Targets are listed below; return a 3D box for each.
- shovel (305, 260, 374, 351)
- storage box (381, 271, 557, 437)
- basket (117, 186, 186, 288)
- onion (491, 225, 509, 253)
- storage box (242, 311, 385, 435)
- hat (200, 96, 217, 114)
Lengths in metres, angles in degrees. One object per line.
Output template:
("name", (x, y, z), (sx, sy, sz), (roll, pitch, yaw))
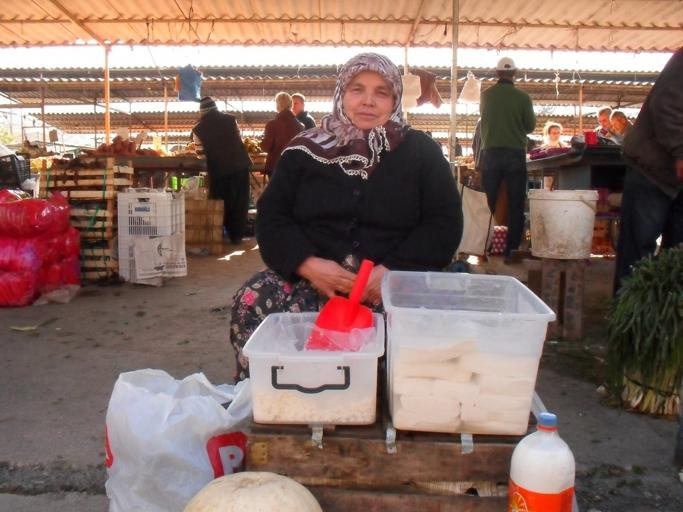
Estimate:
("shovel", (0.034, 0.238, 2.693), (0.174, 0.083, 0.418), (16, 26, 10))
("storage box", (0.472, 0.357, 2.445), (0.554, 0.499, 0.695), (2, 1, 4))
("basket", (-1.903, -0.192, 6.398), (0.655, 0.948, 0.430), (-2, 6, -22))
("onion", (1.970, -0.198, 7.926), (0.327, 0.366, 0.342), (1, -1, 9))
("storage box", (-0.123, 0.385, 2.758), (0.634, 0.341, 0.761), (-3, 26, -12))
("hat", (-1.869, -2.127, 8.939), (0.244, 0.246, 0.201), (-2, 29, -8))
